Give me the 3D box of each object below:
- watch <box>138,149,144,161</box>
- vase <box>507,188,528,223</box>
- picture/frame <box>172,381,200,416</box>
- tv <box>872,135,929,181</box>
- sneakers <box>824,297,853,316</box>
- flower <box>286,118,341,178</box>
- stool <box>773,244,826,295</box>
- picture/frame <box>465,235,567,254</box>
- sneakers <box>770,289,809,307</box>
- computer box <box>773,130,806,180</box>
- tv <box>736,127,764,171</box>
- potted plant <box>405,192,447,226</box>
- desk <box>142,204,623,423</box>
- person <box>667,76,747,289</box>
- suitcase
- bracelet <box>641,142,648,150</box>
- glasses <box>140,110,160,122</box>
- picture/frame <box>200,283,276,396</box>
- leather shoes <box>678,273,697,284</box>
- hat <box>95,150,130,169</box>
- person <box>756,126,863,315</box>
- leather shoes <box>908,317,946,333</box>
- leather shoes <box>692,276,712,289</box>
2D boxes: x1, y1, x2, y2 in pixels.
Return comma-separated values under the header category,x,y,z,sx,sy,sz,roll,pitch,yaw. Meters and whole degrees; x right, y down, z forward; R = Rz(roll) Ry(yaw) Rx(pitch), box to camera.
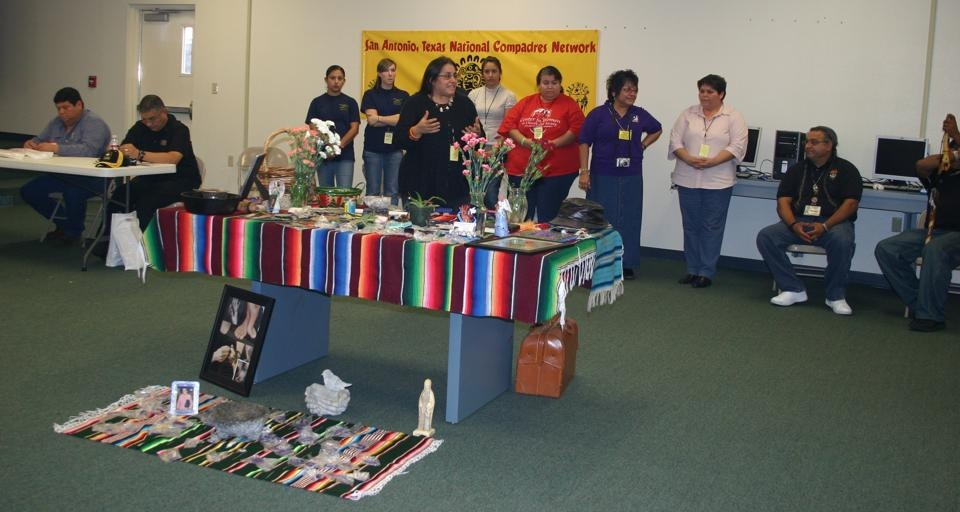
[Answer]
category,x,y,z,sx,sy,sz,roll,pitch,yaw
watch,-3.857,-1.145,7.701,0.054,0.100,0.081,8,6,40
vase,0.298,-0.419,5.640,0.201,0.288,0.195,-1,5,-33
picture/frame,-2.184,1.073,5.012,0.281,0.296,0.033,1,1,-5
tv,4.883,-1.132,7.840,0.629,0.582,0.199,4,5,20
sneakers,3.901,0.560,7.369,0.125,0.115,0.301,-4,5,-7
flower,-1.424,-0.917,5.630,0.467,0.448,0.510,7,10,18
stool,4.042,0.127,8.372,0.460,0.518,0.622,0,35,29
picture/frame,0.284,-0.082,4.969,0.701,0.056,0.367,3,13,13
sneakers,3.427,0.464,7.502,0.463,0.179,0.163,-3,5,-12
computer box,3.891,-1.266,8.412,0.468,0.584,0.447,-1,15,3
tv,3.433,-1.408,8.486,0.402,0.461,0.047,-3,1,-31
potted plant,-0.472,-0.375,5.572,0.372,0.329,0.363,-2,4,-43
desk,-0.786,0.404,5.434,3.386,1.553,0.772,3,13,12
person,2.638,-0.871,7.941,0.835,2.439,0.561,4,13,17
suitcase,0.583,0.817,5.724,0.411,0.577,0.664,6,12,18
bracelet,1.981,-1.321,8.135,0.064,0.071,0.069,-4,15,-20
glasses,-3.757,-1.620,7.745,0.170,0.160,0.182,-4,-3,-1
picture/frame,-1.907,0.706,5.376,0.741,0.948,0.099,16,1,22
leather shoes,2.472,0.295,8.062,0.254,0.096,0.089,-1,5,-9
hat,-3.993,-1.069,7.364,0.333,0.192,0.305,-9,16,-35
person,3.660,-0.425,7.484,0.963,1.954,0.798,5,13,21
leather shoes,4.536,0.707,6.892,0.394,0.152,0.138,4,3,-3
leather shoes,2.605,0.318,7.958,0.106,0.112,0.285,-1,-1,29
